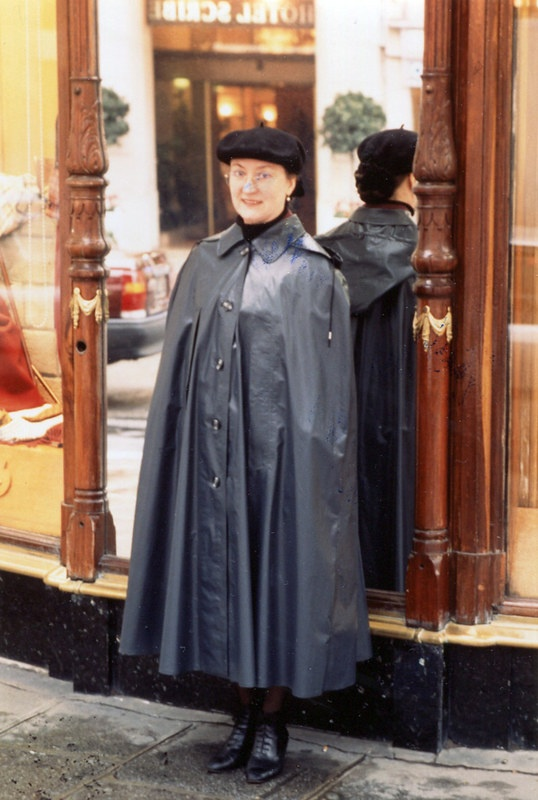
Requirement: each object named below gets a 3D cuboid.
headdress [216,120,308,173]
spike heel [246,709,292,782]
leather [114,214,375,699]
[{"bbox_3d":[-0.028,-0.738,4.969,0.263,0.145,0.246,7,9,17],"label":"headdress"},{"bbox_3d":[-0.001,1.011,4.982,0.071,0.105,0.230,1,26,11],"label":"spike heel"},{"bbox_3d":[-0.076,0.152,4.962,0.727,1.373,0.407,-1,6,2],"label":"leather"}]
